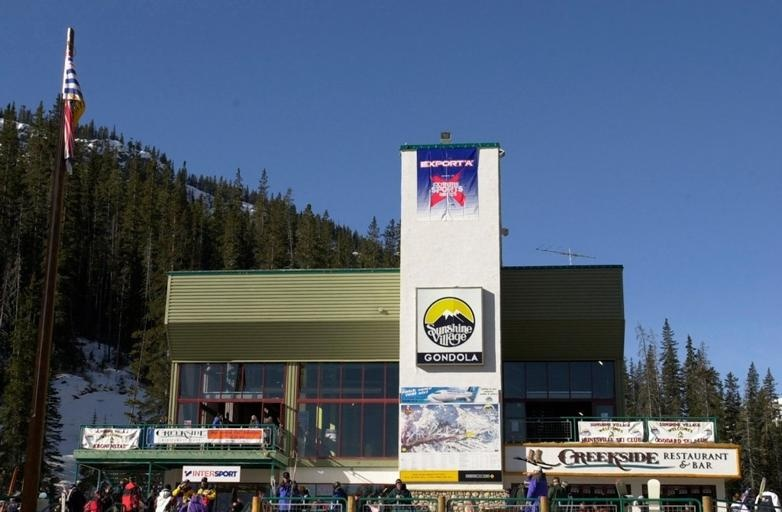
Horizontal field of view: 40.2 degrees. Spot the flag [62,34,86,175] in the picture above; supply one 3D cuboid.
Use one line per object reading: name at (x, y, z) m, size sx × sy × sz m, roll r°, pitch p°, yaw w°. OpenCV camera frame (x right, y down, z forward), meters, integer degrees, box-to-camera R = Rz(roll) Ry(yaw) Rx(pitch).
flag at (-16.902, -8.485, 56.728) m, size 1.241 × 7.971 × 1.120 m, roll 2°, pitch -11°, yaw -22°
